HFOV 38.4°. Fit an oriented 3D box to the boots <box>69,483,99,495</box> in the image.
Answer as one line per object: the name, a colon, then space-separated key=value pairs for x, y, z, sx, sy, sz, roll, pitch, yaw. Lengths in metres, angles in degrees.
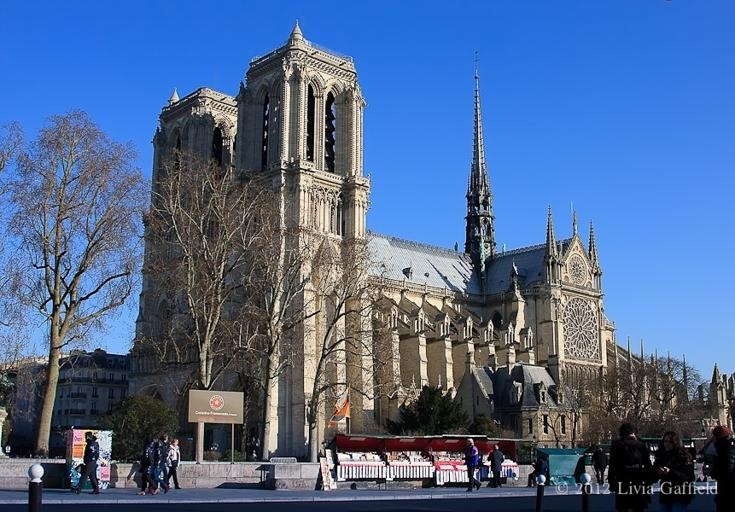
boots: x=-11.301 y=9.297 z=42.270 sx=1.327 sy=0.589 sz=0.432 roll=-6 pitch=-18 yaw=19

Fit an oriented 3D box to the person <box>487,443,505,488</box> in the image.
person: x=6.218 y=10.248 z=51.354 sx=0.665 sy=1.944 sz=1.058 roll=-2 pitch=-17 yaw=6

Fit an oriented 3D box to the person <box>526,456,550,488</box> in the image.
person: x=8.334 y=10.570 z=51.990 sx=1.079 sy=1.565 sz=1.516 roll=-4 pitch=-18 yaw=14
